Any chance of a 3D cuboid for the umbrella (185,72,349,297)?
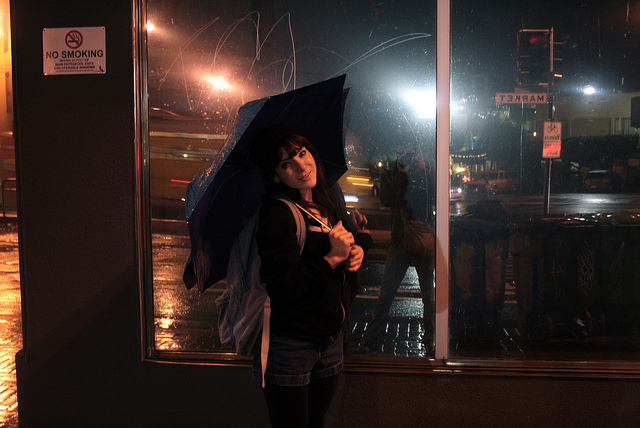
[{"bbox_3d":[-0.495,-0.335,4.098,0.485,1.539,1.503,30,30,34],"label":"umbrella"}]
